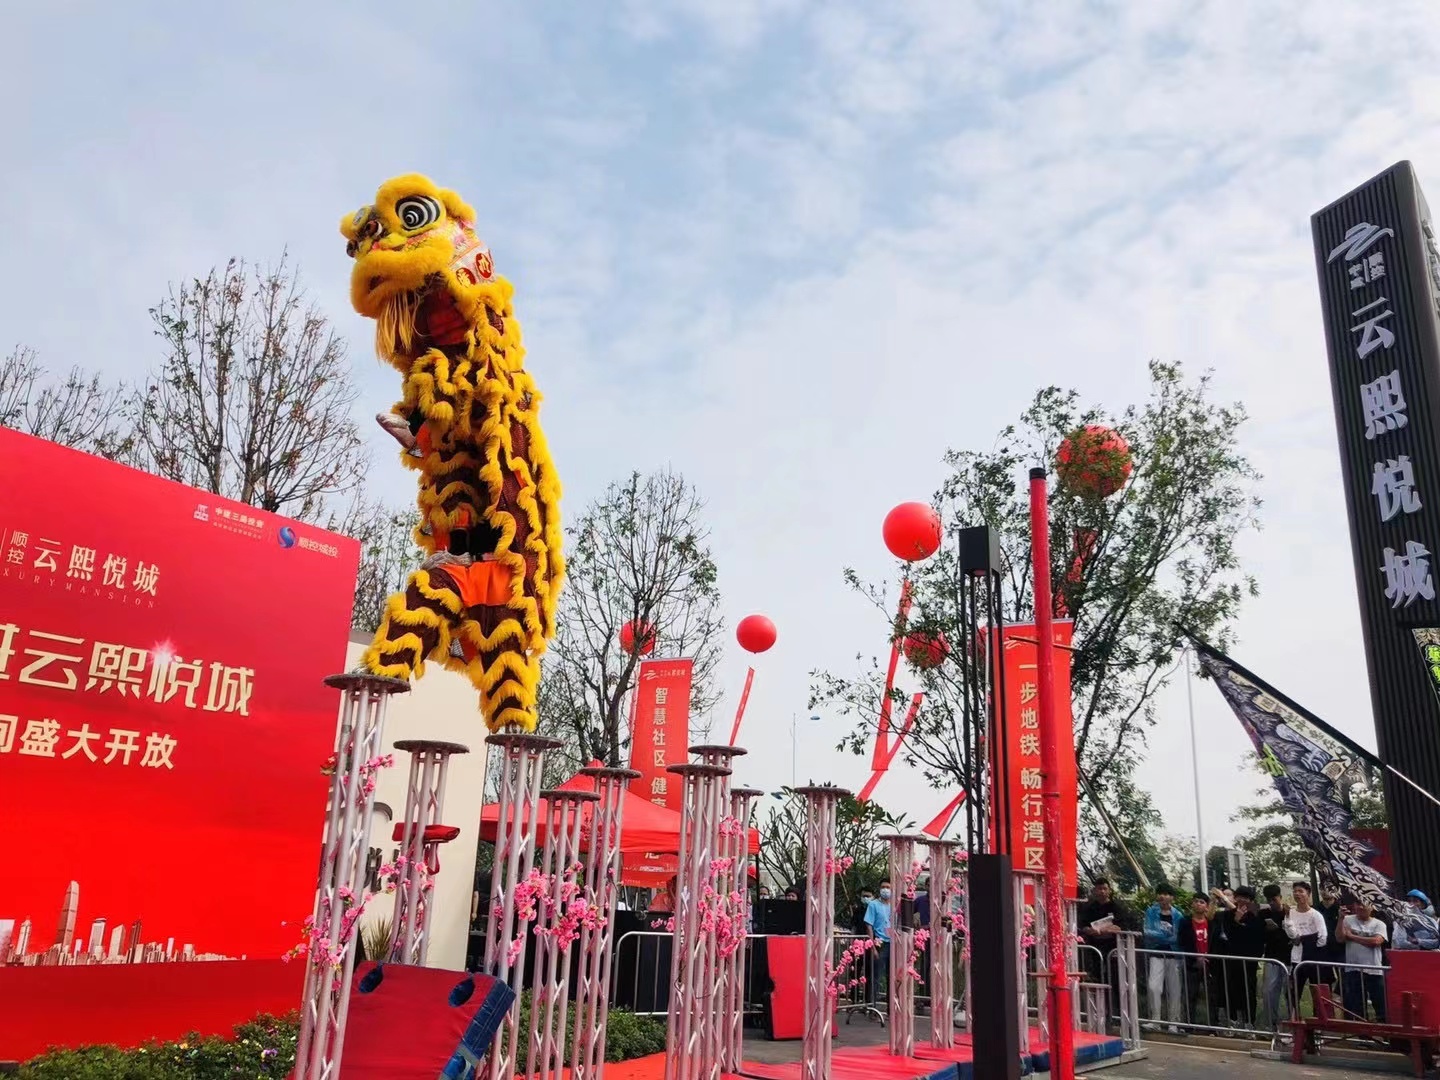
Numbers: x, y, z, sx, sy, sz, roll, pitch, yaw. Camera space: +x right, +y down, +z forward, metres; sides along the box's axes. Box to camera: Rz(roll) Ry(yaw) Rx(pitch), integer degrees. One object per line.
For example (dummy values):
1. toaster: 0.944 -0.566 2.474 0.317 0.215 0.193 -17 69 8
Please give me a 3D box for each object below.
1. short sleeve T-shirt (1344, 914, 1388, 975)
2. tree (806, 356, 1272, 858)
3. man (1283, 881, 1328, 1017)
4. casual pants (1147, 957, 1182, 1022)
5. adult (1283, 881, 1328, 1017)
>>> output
1. short sleeve T-shirt: 6.730 4.263 10.643 0.469 0.625 0.327 -11 -48 40
2. tree: 4.033 0.964 11.962 4.571 5.452 4.029 -28 -61 33
3. man: 6.344 4.356 11.009 0.407 1.250 1.183 -9 -23 27
4. casual pants: 5.264 5.332 12.011 0.403 0.730 0.406 -7 -21 19
5. adult: 6.336 4.351 10.998 0.396 1.250 1.256 -10 -23 27
